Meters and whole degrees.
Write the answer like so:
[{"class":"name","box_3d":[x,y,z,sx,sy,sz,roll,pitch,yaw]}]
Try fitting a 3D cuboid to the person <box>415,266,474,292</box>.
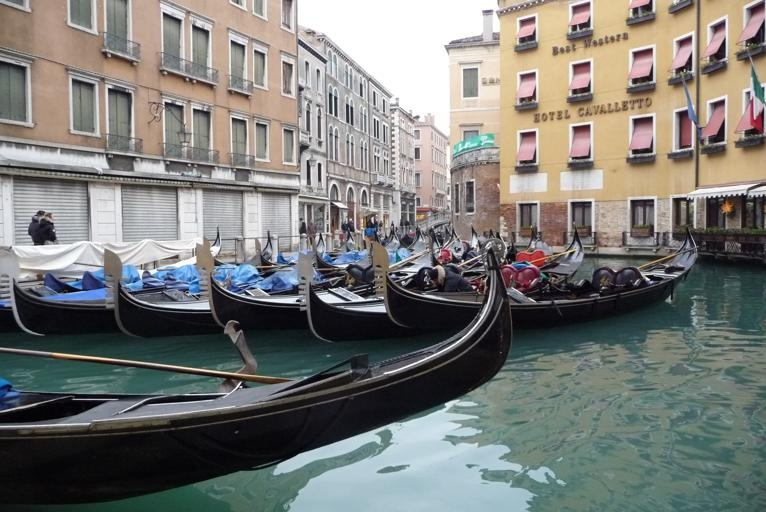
[{"class":"person","box_3d":[1.608,0.586,16.373,0.990,0.335,0.700,1,6,-24]}]
